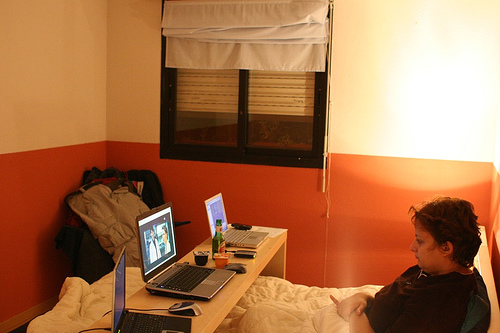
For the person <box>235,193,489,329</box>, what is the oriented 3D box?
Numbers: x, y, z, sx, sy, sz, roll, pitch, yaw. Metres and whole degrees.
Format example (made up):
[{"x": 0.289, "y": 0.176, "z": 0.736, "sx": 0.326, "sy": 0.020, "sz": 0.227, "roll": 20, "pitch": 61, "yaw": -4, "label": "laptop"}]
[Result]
[{"x": 0.713, "y": 0.591, "z": 2.819, "sx": 1.603, "sy": 0.957, "sz": 0.841, "roll": 1, "pitch": 12, "yaw": 23, "label": "person"}]

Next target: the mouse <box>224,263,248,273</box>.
[{"x": -0.101, "y": 0.730, "z": 2.848, "sx": 0.091, "sy": 0.030, "sz": 0.092, "roll": 2, "pitch": 5, "yaw": 7, "label": "mouse"}]

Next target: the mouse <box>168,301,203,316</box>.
[{"x": -0.399, "y": 0.863, "z": 2.387, "sx": 0.150, "sy": 0.049, "sz": 0.091, "roll": 6, "pitch": 1, "yaw": 4, "label": "mouse"}]

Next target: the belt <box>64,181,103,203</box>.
[{"x": -1.797, "y": 0.265, "z": 4.236, "sx": 0.387, "sy": 0.205, "sz": 0.145, "roll": -1, "pitch": 7, "yaw": -22, "label": "belt"}]
